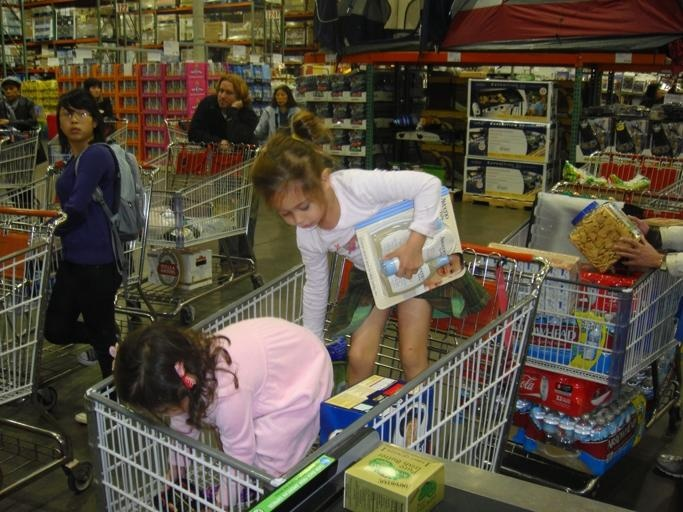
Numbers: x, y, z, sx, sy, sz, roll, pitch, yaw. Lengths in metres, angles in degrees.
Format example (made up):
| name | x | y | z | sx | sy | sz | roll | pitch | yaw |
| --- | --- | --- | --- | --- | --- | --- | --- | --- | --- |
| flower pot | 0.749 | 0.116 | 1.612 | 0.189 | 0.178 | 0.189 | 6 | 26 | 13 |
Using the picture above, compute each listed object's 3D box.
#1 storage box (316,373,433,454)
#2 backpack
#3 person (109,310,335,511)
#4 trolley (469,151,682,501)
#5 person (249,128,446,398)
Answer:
| name | x | y | z | sx | sy | sz | roll | pitch | yaw |
| --- | --- | --- | --- | --- | --- | --- | --- | --- | --- |
| storage box | 0.115 | 0.554 | 1.663 | 0.178 | 0.300 | 0.342 | -3 | 2 | 35 |
| backpack | -1.482 | -0.421 | 3.499 | 0.367 | 0.638 | 0.429 | -14 | 12 | -19 |
| person | -0.339 | 0.460 | 1.856 | 0.316 | 0.632 | 0.786 | 11 | 20 | 34 |
| trolley | 1.255 | 0.172 | 3.466 | 0.945 | 1.706 | 1.868 | 6 | 23 | 32 |
| person | 0.082 | 0.173 | 2.389 | 0.782 | 1.323 | 0.540 | -7 | 6 | -10 |
